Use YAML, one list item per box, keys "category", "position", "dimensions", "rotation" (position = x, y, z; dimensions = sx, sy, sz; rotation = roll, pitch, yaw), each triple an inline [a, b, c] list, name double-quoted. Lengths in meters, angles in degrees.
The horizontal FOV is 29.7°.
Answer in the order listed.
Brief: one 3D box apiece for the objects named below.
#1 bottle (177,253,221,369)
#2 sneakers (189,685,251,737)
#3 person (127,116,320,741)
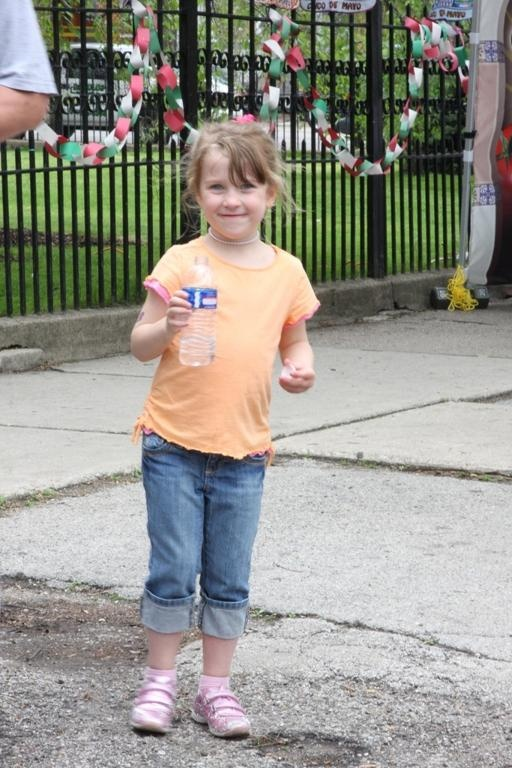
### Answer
- category: "bottle"
  position: [-0.118, -0.146, 1.968]
  dimensions: [0.077, 0.222, 0.161]
  rotation: [0, 10, -2]
- category: "sneakers"
  position: [-0.077, 0.670, 2.013]
  dimensions: [0.073, 0.101, 0.200]
  rotation: [9, -5, -28]
- category: "person"
  position: [-0.089, 0.068, 2.061]
  dimensions: [0.363, 1.243, 0.494]
  rotation: [3, 10, 11]
